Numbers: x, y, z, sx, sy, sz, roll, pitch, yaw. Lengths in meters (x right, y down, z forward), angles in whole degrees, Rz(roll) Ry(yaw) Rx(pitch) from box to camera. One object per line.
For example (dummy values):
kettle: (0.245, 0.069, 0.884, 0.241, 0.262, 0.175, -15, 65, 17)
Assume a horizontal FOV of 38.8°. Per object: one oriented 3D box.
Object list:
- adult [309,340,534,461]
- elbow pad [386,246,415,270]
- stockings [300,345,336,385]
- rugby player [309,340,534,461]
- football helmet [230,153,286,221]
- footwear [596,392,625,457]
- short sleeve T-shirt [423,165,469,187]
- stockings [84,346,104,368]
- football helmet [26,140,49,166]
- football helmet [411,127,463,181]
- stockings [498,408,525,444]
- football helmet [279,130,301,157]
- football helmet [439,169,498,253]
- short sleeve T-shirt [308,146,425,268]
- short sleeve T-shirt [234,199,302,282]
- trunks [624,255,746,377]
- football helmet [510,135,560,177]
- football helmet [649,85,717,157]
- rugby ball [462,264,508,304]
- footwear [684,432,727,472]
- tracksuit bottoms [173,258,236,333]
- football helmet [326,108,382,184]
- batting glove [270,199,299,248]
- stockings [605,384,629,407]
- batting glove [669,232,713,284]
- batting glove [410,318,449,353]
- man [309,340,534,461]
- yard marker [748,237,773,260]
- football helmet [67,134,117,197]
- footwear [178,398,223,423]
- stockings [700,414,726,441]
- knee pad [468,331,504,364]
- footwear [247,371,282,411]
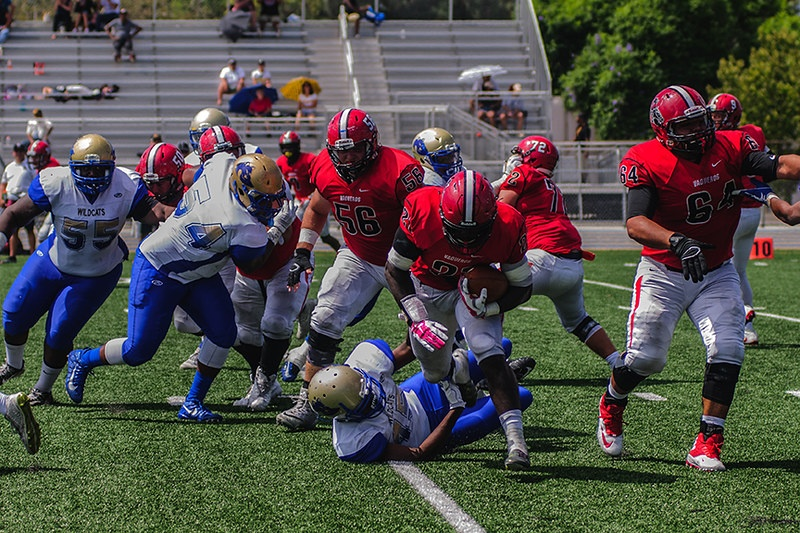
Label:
adult: (0.034, 1.014, 8.151, 1.263, 0.530, 0.831, -1, 18, -20)
elbow pad: (-0.002, -0.081, 8.178, 0.152, 0.104, 0.157, 22, 7, -4)
stockings: (-0.644, 0.735, 8.921, 0.232, 0.278, 0.229, 0, 31, 14)
rugby player: (0.014, 1.009, 8.163, 1.263, 0.530, 0.831, -1, 18, -20)
football helmet: (-1.077, -0.582, 8.493, 0.417, 0.517, 0.231, 0, 7, -8)
footwear: (1.511, 1.141, 8.238, 0.157, 0.447, 0.197, -2, -6, -1)
short sleeve T-shirt: (0.307, -0.788, 9.711, 0.218, 0.219, 0.180, 1, 5, -5)
stockings: (-2.441, 0.687, 8.942, 0.151, 0.139, 0.173, -2, -29, -16)
football helmet: (-4.535, -1.466, 14.001, 0.227, 0.303, 0.328, 7, 36, 0)
football helmet: (0.320, -0.942, 9.734, 0.447, 0.457, 0.389, 16, 36, 20)
stockings: (0.783, 1.125, 7.902, 0.169, 0.259, 0.244, 1, 7, -3)
football helmet: (-1.399, -1.566, 14.377, 0.240, 0.314, 0.325, -1, 7, -1)
football helmet: (0.454, -0.387, 7.888, 0.364, 0.514, 0.447, 1, -20, 2)
short sleeve T-shirt: (-0.246, -0.490, 8.838, 0.980, 0.998, 0.538, 0, 38, 32)
short sleeve T-shirt: (-0.997, -0.201, 9.241, 0.604, 0.411, 0.438, -28, 14, -2)
trunks: (2.125, 0.380, 8.403, 0.843, 1.238, 0.450, 4, -8, -1)
football helmet: (1.152, -0.988, 9.711, 0.369, 0.319, 0.288, 25, 10, 19)
football helmet: (2.040, -1.053, 8.163, 0.462, 0.495, 0.245, 3, 7, 15)
rugby ball: (0.608, 0.103, 7.965, 0.271, 0.222, 0.218, 10, 28, -20)
footwear: (2.165, 1.290, 7.972, 0.252, 0.248, 0.164, 1, 7, -7)
tracksuit bottoms: (-1.756, 0.326, 9.830, 0.478, 0.660, 0.605, 8, -14, -24)
football helmet: (-0.327, -0.985, 8.843, 0.381, 0.538, 0.508, 2, -26, 14)
batting glove: (-0.946, -0.363, 9.104, 0.177, 0.321, 0.233, 31, 16, -32)
stockings: (1.558, 0.940, 8.263, 0.181, 0.121, 0.180, -13, 10, -30)
batting glove: (2.004, -0.063, 7.892, 0.269, 0.309, 0.095, -26, -3, -24)
batting glove: (0.175, 0.487, 8.008, 0.319, 0.230, 0.165, 6, 9, 34)
man: (0.012, 1.024, 8.134, 1.263, 0.530, 0.831, -1, 18, -20)
yard marker: (5.033, -0.257, 15.767, 0.177, 0.327, 0.340, 0, 0, -11)
football helmet: (-2.370, -0.793, 8.698, 0.327, 0.457, 0.462, 0, 23, -11)
footwear: (-1.581, 1.105, 8.778, 0.394, 0.198, 0.144, 4, -2, -3)
stockings: (2.199, 1.135, 8.053, 0.159, 0.141, 0.134, 31, -23, -4)
knee pad: (0.600, 0.568, 8.030, 0.265, 0.211, 0.145, 1, 7, -6)
footwear: (-1.109, 1.005, 9.098, 0.131, 0.187, 0.406, 3, 46, 16)
